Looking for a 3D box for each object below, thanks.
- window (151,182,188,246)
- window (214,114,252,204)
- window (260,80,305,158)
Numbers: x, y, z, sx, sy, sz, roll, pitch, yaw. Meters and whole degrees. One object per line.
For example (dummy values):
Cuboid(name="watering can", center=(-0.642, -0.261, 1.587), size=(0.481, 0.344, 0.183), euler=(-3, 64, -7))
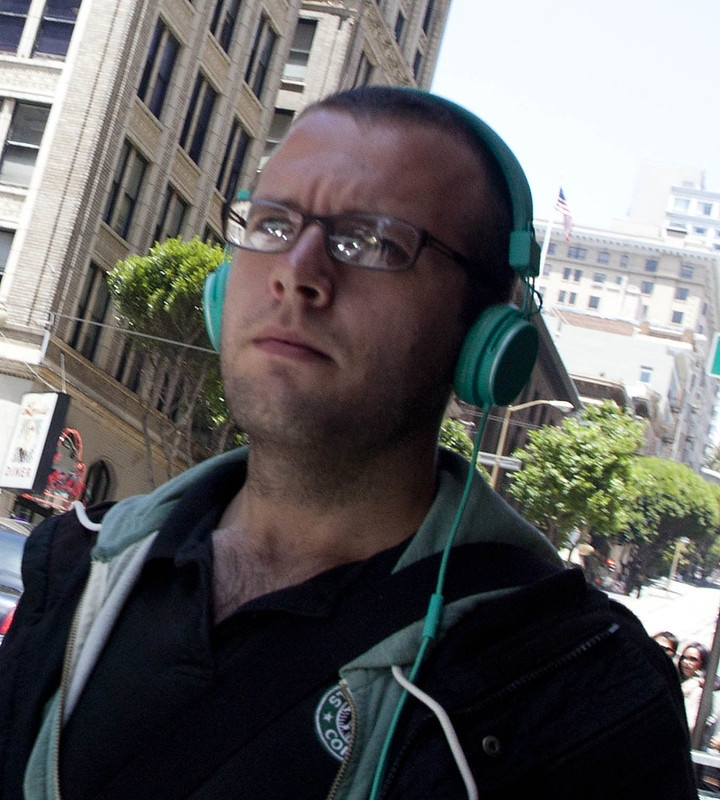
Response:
Cuboid(name="window", center=(-7.266, -7.059, 28.732), size=(0.119, 2.512, 2.228), euler=(8, -19, 17))
Cuboid(name="window", center=(-5.314, -10.028, 32.805), size=(0.241, 3.355, 1.859), euler=(-5, 36, -29))
Cuboid(name="window", center=(-4.123, -14.404, 38.969), size=(1.270, 2.284, 2.108), euler=(0, -40, -26))
